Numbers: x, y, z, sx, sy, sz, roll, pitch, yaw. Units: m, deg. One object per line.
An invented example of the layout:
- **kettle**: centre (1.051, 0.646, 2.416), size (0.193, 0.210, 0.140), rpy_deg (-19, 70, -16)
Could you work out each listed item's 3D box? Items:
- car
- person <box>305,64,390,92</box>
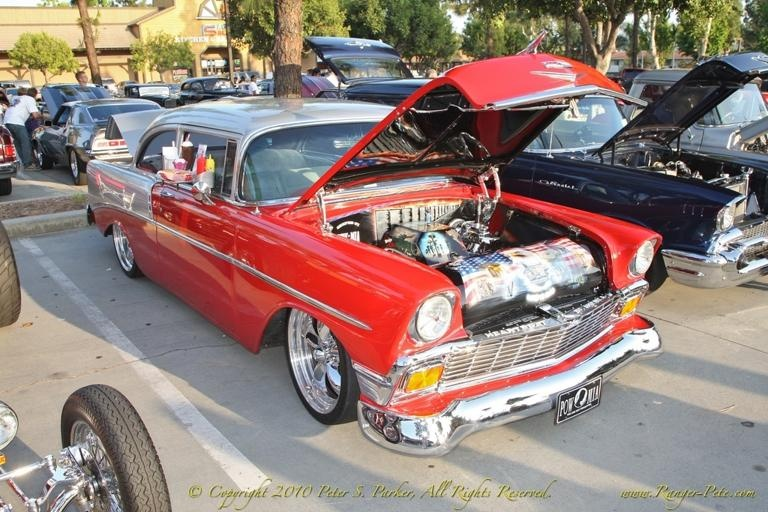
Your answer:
- **car**: centre (-0.555, -0.301, 4.704), size (3.488, 1.752, 4.738), rpy_deg (-23, 35, -40)
- **person**: centre (-0.828, -4.330, 12.601), size (1.369, 0.596, 1.967), rpy_deg (-13, 37, -21)
